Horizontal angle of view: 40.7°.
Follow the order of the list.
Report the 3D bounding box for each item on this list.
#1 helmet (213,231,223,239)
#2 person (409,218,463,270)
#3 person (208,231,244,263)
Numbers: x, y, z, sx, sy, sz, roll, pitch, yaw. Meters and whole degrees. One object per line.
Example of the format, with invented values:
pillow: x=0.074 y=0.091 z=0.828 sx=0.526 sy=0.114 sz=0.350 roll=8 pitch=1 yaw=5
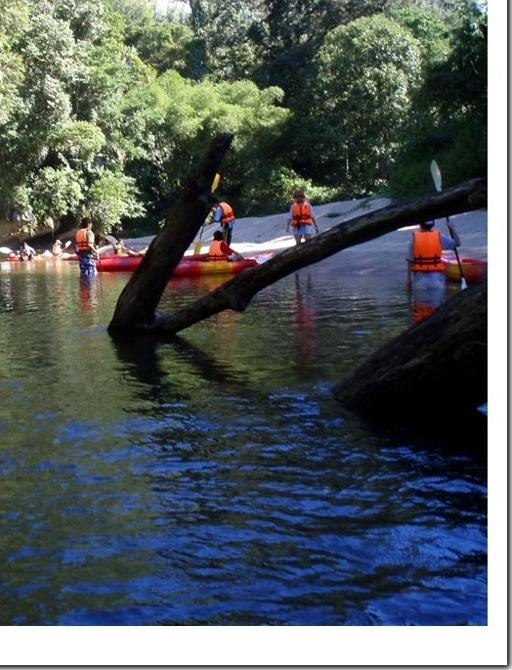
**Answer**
helmet: x=-0.945 y=-2.447 z=17.137 sx=0.210 sy=0.212 sz=0.231 roll=2 pitch=15 yaw=19
person: x=2.652 y=-1.341 z=10.761 sx=0.945 sy=0.866 sz=1.144 roll=1 pitch=8 yaw=20
person: x=-0.895 y=-2.258 z=17.816 sx=0.691 sy=0.872 sz=0.908 roll=20 pitch=39 yaw=25
